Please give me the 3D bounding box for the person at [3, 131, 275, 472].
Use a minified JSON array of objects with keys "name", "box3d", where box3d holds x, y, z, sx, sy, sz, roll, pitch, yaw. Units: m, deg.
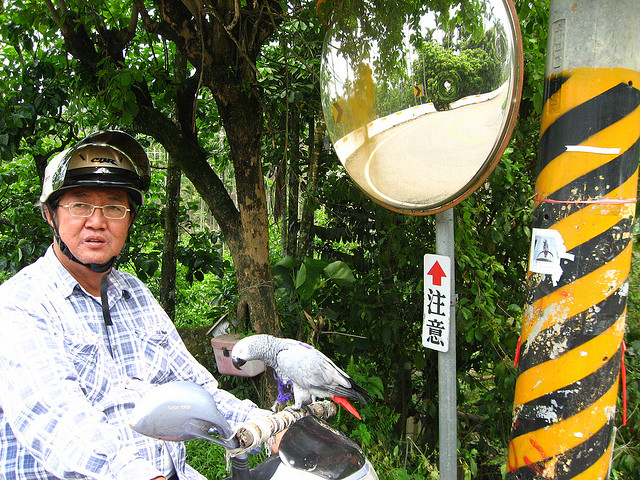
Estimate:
[{"name":"person","box3d":[-1.067,0.345,2.890,0.849,1.778,0.962,-2,7,21]}]
